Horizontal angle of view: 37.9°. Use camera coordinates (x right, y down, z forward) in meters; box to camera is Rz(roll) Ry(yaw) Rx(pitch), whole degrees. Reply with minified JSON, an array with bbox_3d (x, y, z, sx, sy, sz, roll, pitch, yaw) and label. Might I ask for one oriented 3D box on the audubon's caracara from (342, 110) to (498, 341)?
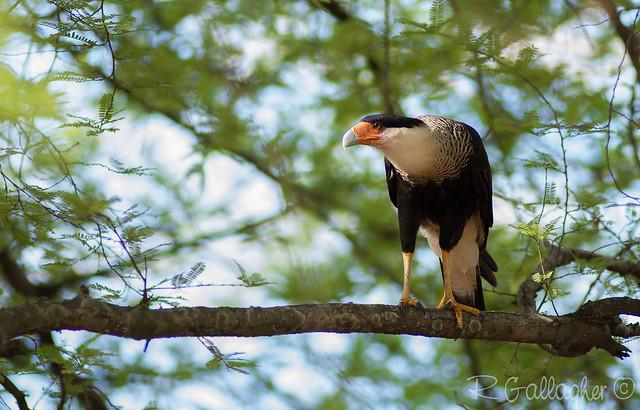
[{"bbox_3d":[0.993,0.050,8.404,1.302,1.702,0.630,6,7,5],"label":"audubon's caracara"}]
